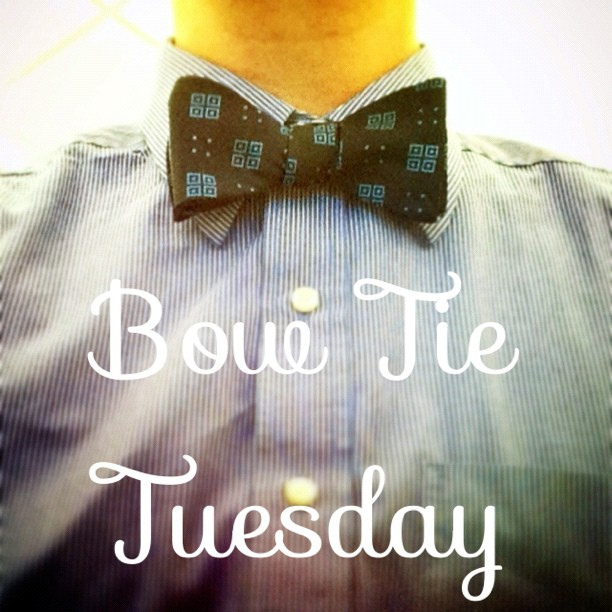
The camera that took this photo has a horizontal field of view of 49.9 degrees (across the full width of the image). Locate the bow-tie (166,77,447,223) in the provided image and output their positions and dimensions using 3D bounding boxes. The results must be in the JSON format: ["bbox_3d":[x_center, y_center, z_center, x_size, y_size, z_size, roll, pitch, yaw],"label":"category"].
[{"bbox_3d":[0.002,-0.184,0.761,0.326,0.073,0.168,1,64,-4],"label":"bow-tie"}]
